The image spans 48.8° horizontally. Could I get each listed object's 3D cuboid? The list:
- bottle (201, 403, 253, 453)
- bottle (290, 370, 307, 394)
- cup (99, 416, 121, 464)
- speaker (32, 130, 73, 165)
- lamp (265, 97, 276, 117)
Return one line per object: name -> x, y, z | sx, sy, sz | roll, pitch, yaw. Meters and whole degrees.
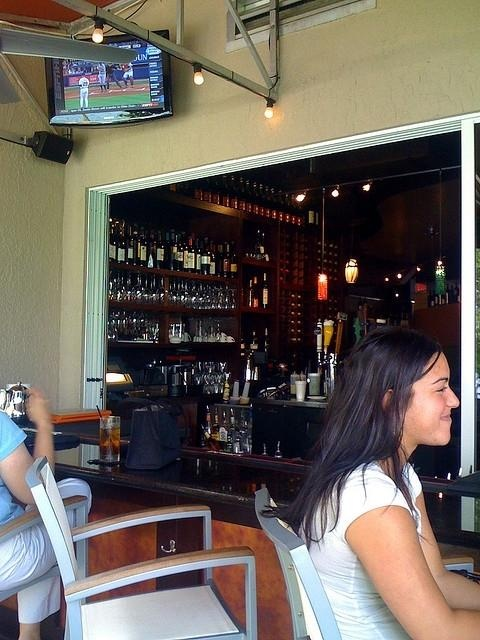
bottle -> -0.135, 1.021, 5.093 | 0.595, 0.438, 0.170 | 2, 2, 37
bottle -> 0.505, 0.581, 4.699 | 0.121, 0.199, 0.200 | 0, -6, 1
cup -> -0.567, 0.512, 2.304 | 0.083, 0.189, 0.280 | 0, 2, -15
speaker -> -1.468, -1.342, 4.102 | 0.145, 0.157, 0.271 | 28, 17, 25
lamp -> 0.169, -1.252, 3.153 | 0.059, 0.108, 0.129 | 1, 1, 3
